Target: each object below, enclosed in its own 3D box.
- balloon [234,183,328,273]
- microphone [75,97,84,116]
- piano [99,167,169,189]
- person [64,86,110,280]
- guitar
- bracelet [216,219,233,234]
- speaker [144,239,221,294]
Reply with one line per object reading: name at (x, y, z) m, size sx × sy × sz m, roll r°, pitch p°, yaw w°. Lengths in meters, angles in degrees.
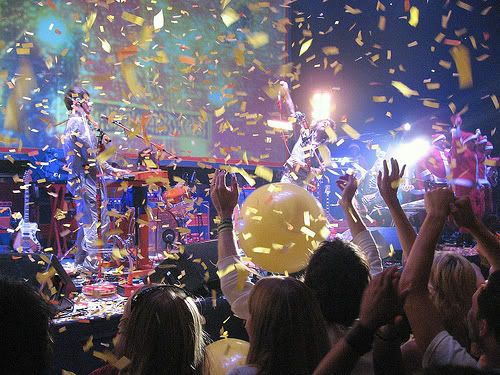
balloon at (0.247, 0.316, 3.402) m, size 0.648 × 0.674 × 0.368 m, roll -7°, pitch 1°, yaw -5°
microphone at (-2.130, -1.036, 5.604) m, size 0.050 × 0.185 × 0.135 m, roll -3°, pitch -1°, yaw -4°
piano at (-1.359, -0.138, 5.252) m, size 0.698 × 0.275 × 0.498 m, roll 3°, pitch -15°, yaw -19°
person at (-2.120, -0.112, 5.531) m, size 0.445 × 2.293 × 0.502 m, roll -5°, pitch -14°, yaw 12°
guitar at (-3.233, 0.354, 6.515) m, size 0.324 × 1.211 × 0.481 m, roll 9°, pitch -17°, yaw -38°
bracelet at (-0.184, 0.291, 3.206) m, size 0.093 × 0.075 × 0.095 m, roll -3°, pitch -5°, yaw 25°
speaker at (-0.646, 0.885, 4.431) m, size 0.565 × 0.368 × 0.525 m, roll 18°, pitch -44°, yaw -42°
